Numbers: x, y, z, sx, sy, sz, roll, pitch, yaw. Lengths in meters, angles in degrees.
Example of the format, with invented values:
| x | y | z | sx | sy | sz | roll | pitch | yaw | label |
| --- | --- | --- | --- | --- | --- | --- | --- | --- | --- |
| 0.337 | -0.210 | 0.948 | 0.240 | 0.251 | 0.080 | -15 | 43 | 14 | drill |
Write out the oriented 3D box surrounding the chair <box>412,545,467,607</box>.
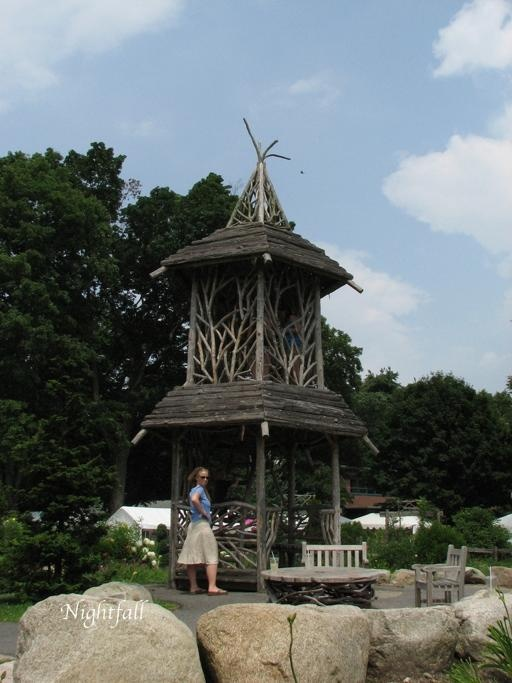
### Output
| x | y | z | sx | sy | sz | roll | pitch | yaw | label |
| --- | --- | --- | --- | --- | --- | --- | --- | --- | --- |
| 2.293 | 3.002 | 9.353 | 0.643 | 0.717 | 0.602 | -2 | -13 | 3 | chair |

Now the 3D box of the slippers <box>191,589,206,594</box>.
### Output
| x | y | z | sx | sy | sz | roll | pitch | yaw | label |
| --- | --- | --- | --- | --- | --- | --- | --- | --- | --- |
| -0.868 | 3.762 | 11.145 | 0.113 | 0.099 | 0.293 | -9 | -26 | 26 | slippers |
